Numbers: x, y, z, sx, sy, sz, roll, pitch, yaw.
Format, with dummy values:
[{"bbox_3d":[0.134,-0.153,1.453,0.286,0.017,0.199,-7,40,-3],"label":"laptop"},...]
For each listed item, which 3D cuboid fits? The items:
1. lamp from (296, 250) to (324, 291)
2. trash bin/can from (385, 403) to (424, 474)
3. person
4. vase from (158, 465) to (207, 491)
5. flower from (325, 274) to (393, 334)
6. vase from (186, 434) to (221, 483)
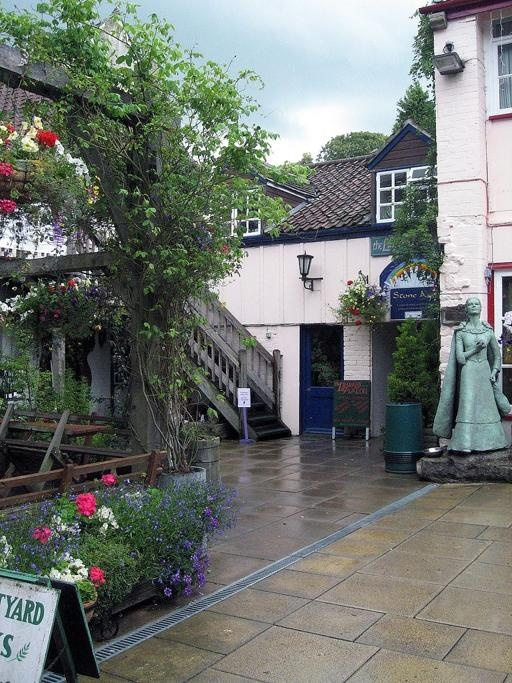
[{"bbox_3d":[0.992,-1.345,11.366,0.496,0.748,0.495,11,0,24],"label":"lamp"},{"bbox_3d":[1.846,1.210,7.494,0.533,0.891,0.283,11,0,16],"label":"trash bin/can"},{"bbox_3d":[2.517,0.413,6.669,0.782,1.751,0.421,11,0,17],"label":"person"},{"bbox_3d":[-0.562,1.016,4.494,0.297,0.200,0.287,0,-1,-33],"label":"vase"},{"bbox_3d":[1.852,-0.721,10.790,0.831,0.791,0.756,-11,7,-31],"label":"flower"},{"bbox_3d":[-0.462,0.990,5.531,0.233,0.266,0.263,1,-3,12],"label":"vase"}]
